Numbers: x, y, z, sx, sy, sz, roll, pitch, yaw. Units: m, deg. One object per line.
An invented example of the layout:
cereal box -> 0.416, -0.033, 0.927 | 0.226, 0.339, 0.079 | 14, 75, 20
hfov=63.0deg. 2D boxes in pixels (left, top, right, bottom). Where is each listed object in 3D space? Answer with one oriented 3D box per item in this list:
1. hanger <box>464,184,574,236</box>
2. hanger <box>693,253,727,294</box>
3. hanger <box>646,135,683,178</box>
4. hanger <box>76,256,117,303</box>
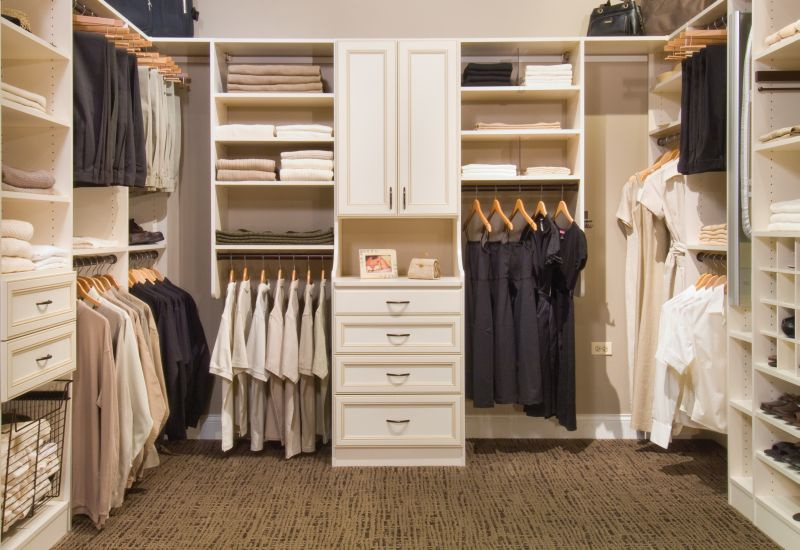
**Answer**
hanger -> 0.895, -0.523, 4.878 | 0.844, 0.375, 0.294 | 0, 14, 2
hanger -> 2.110, -0.007, 4.419 | 0.226, 0.258, 0.137 | 0, -4, 0
hanger -> 1.942, -0.866, 4.771 | 0.056, 0.360, 0.327 | 6, -4, -32
hanger -> -1.969, 0.034, 4.205 | 0.045, 0.218, 0.260 | 4, 6, 22
